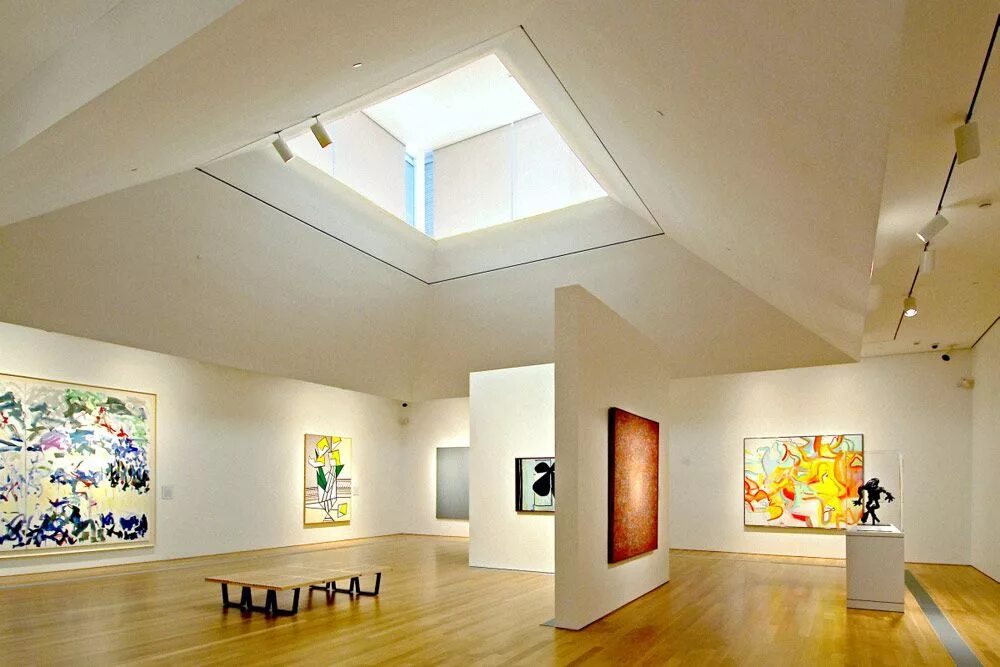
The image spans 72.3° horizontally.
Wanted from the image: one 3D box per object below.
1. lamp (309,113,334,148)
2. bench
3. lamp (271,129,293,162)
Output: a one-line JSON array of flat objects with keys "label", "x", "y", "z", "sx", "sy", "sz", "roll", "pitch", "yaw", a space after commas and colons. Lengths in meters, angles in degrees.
[{"label": "lamp", "x": -2.582, "y": -2.884, "z": 9.813, "sx": 0.272, "sy": 0.582, "sz": 0.492, "roll": 6, "pitch": -16, "yaw": -16}, {"label": "bench", "x": -3.101, "y": 3.815, "z": 10.316, "sx": 1.801, "sy": 0.608, "sz": 2.306, "roll": -11, "pitch": -20, "yaw": 34}, {"label": "lamp", "x": -3.231, "y": -2.736, "z": 10.079, "sx": 0.266, "sy": 0.268, "sz": 0.589, "roll": 0, "pitch": -16, "yaw": 4}]
